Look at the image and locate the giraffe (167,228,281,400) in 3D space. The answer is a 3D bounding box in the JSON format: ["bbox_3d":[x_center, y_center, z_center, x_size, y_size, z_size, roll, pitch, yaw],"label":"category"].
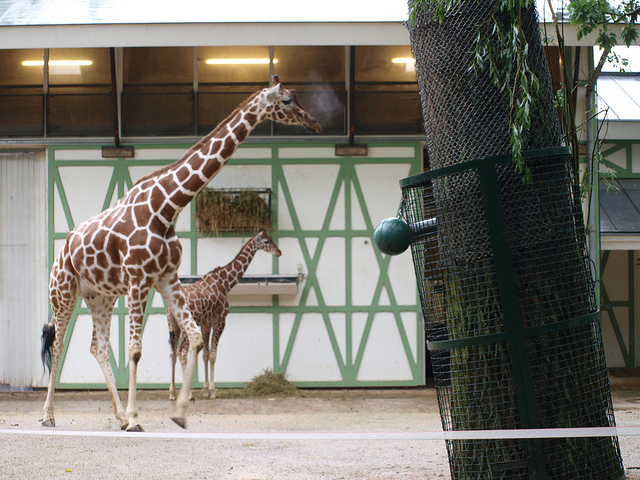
[{"bbox_3d":[-1.184,0.769,16.456,1.189,2.133,0.936,2,-1,-28],"label":"giraffe"}]

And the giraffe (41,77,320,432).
[{"bbox_3d":[-1.681,0.137,14.375,2.443,3.662,1.026,-1,-3,22],"label":"giraffe"}]
